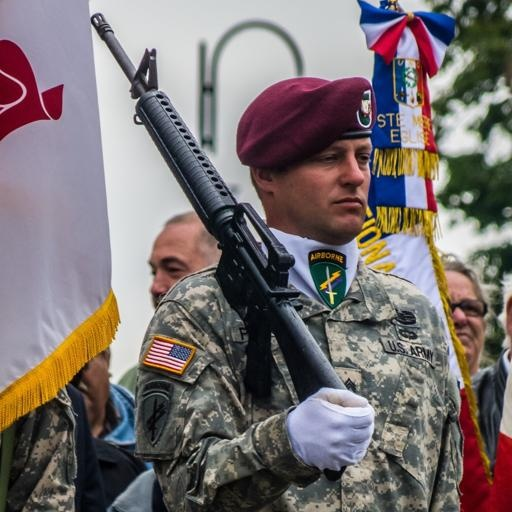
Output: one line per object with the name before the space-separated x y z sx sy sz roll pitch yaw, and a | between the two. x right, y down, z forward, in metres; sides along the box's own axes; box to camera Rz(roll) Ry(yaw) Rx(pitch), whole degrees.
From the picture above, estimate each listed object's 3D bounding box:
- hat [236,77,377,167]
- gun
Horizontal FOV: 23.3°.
hat | 0.175 -0.428 4.491 0.402 0.229 0.304 -16 3 37
gun | -0.126 -0.232 4.261 0.707 1.633 0.277 -21 -19 33
